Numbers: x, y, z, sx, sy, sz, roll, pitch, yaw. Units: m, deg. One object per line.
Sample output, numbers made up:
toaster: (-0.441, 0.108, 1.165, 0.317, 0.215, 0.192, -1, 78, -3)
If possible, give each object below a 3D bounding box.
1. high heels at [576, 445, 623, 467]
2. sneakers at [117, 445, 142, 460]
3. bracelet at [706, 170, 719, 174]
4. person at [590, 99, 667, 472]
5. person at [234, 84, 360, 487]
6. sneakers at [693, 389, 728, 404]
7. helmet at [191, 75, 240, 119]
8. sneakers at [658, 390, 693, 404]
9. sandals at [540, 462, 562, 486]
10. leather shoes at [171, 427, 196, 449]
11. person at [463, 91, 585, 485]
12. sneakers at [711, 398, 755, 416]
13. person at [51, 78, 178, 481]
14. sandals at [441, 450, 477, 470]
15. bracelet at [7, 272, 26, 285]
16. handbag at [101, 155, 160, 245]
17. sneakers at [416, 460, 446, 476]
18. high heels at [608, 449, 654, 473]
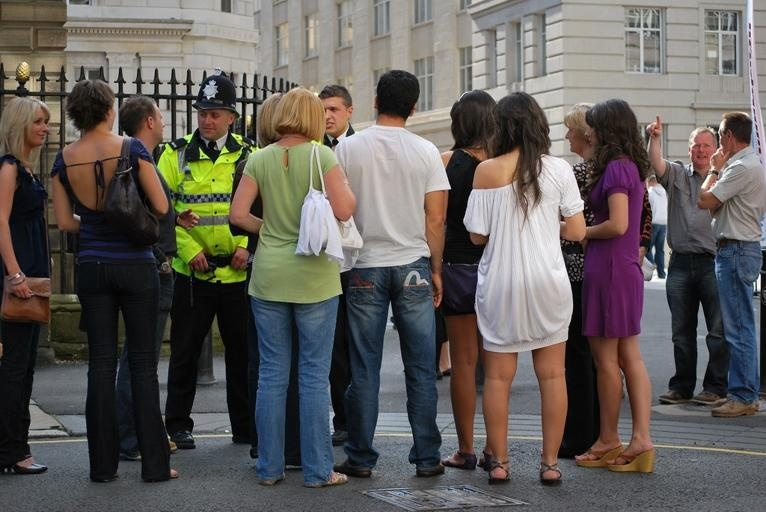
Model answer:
high heels: (1.999, 1.854, 10.999, 0.364, 0.152, 0.201, 1, -3, 8)
sneakers: (-2.394, 1.876, 11.211, 0.265, 0.114, 0.112, -1, -5, 3)
bracelet: (3.620, -0.922, 12.933, 0.079, 0.055, 0.085, 16, -9, -41)
person: (2.213, 0.245, 10.944, 0.704, 3.371, 0.796, 1, 8, 9)
person: (-0.773, 0.263, 10.517, 1.043, 3.498, 0.717, 0, 8, 0)
sneakers: (3.621, 1.547, 12.988, 0.410, 0.154, 0.147, 4, -5, -28)
helmet: (-1.645, -1.654, 11.674, 0.405, 0.407, 0.573, 11, 8, 12)
sneakers: (3.209, 1.546, 12.982, 0.384, 0.120, 0.139, 3, -6, -11)
sandals: (1.506, 1.929, 10.597, 0.202, 0.180, 0.290, 1, 9, 8)
leather shoes: (-1.948, 1.801, 11.577, 0.290, 0.118, 0.125, -2, -3, 24)
person: (1.255, 0.277, 10.586, 1.020, 3.450, 0.655, 1, 8, 4)
sneakers: (3.712, 1.594, 12.492, 0.469, 0.205, 0.179, 2, -5, -9)
person: (-2.399, 0.214, 10.590, 1.108, 3.566, 0.727, 1, 8, 8)
sandals: (0.701, 1.886, 10.958, 0.280, 0.122, 0.157, 3, 1, 32)
bracelet: (-3.345, 0.200, 10.798, 0.131, 0.080, 0.103, -33, 1, 18)
handbag: (-2.262, -0.503, 10.463, 0.288, 0.556, 0.557, -15, -33, 10)
sneakers: (0.430, 1.943, 10.794, 0.280, 0.121, 0.100, 0, 2, -34)
high heels: (2.293, 1.880, 10.886, 0.368, 0.175, 0.203, 2, -3, 9)
